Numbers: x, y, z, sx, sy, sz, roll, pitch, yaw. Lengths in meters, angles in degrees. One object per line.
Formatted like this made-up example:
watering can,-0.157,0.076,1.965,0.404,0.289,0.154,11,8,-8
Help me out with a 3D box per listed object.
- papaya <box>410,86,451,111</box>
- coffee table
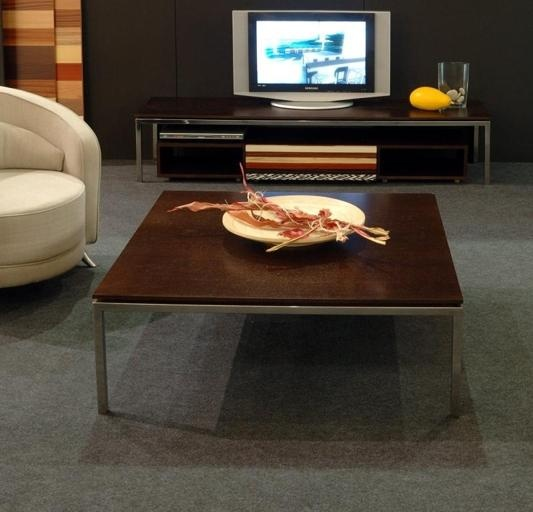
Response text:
papaya,1.239,-1.191,3.883,0.311,0.143,0.157,13,-6,36
coffee table,0.082,0.096,1.770,1.082,0.419,1.063,1,19,3
